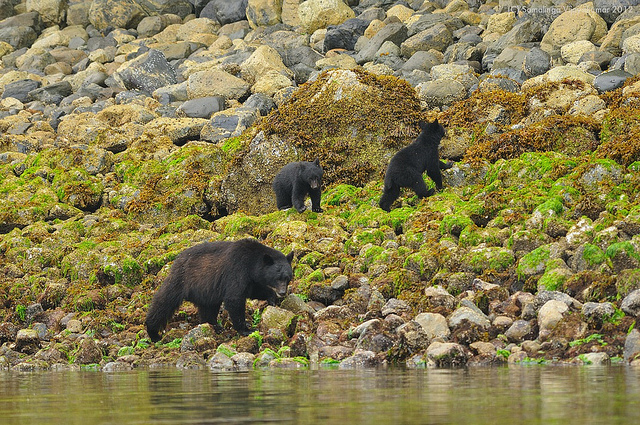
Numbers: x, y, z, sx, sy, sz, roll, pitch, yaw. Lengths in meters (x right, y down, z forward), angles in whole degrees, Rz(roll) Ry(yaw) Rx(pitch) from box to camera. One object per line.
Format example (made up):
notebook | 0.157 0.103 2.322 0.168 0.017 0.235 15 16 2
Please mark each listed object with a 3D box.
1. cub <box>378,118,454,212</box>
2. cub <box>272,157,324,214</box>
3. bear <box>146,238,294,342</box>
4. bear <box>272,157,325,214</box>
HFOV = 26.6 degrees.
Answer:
cub | 3.452 -1.659 47.429 3.622 2.549 1.597 -26 20 -36
cub | -0.788 -0.832 47.473 0.722 1.341 1.975 -3 -3 -41
bear | -3.219 2.475 44.105 4.879 2.928 1.724 -4 -1 14
bear | -0.740 -0.884 47.946 1.263 1.831 3.309 -5 4 -20
